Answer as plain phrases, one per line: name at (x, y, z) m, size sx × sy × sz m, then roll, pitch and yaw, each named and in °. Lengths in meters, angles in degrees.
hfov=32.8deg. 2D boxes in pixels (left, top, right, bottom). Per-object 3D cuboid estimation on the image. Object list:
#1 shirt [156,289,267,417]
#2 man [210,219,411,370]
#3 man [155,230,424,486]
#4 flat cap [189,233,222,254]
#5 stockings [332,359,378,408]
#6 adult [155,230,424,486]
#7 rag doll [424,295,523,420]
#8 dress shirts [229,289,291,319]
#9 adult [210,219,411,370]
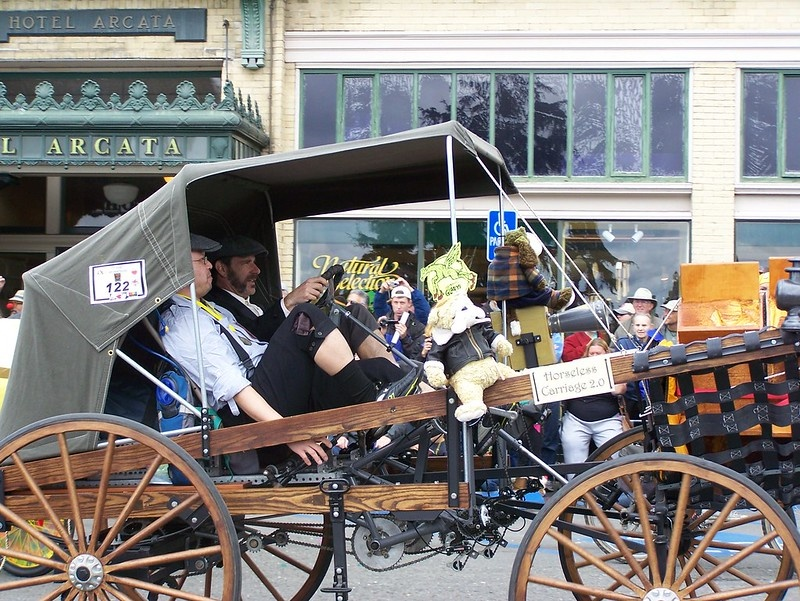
shirt at (-1.436, 0.429, 10.114) m, size 0.536 × 0.535 × 0.832 m, roll -23°, pitch 21°, yaw -2°
man at (-0.780, 0.042, 10.884) m, size 2.069 × 1.004 × 0.811 m, roll 5°, pitch 4°, yaw 29°
man at (-0.731, 0.197, 10.343) m, size 2.150 × 1.279 × 1.002 m, roll -8°, pitch 7°, yaw 8°
flat cap at (-1.485, -0.416, 10.290) m, size 0.227 × 0.057 × 0.120 m, roll 5°, pitch 35°, yaw -10°
stockings at (-0.357, 0.638, 10.116) m, size 0.310 × 0.283 × 0.168 m, roll -33°, pitch 8°, yaw 5°
adult at (-0.767, 0.208, 10.341) m, size 2.060 × 1.301 × 1.085 m, roll -8°, pitch 8°, yaw 6°
rag doll at (0.484, 0.410, 9.613) m, size 0.634 × 0.891 × 0.341 m, roll -3°, pitch 0°, yaw 1°
dress shirts at (-1.199, 0.046, 11.094) m, size 0.339 × 0.267 × 0.081 m, roll 3°, pitch -7°, yaw -16°
adult at (-0.765, 0.067, 10.877) m, size 2.172 × 1.015 × 0.834 m, roll 5°, pitch -3°, yaw 23°
